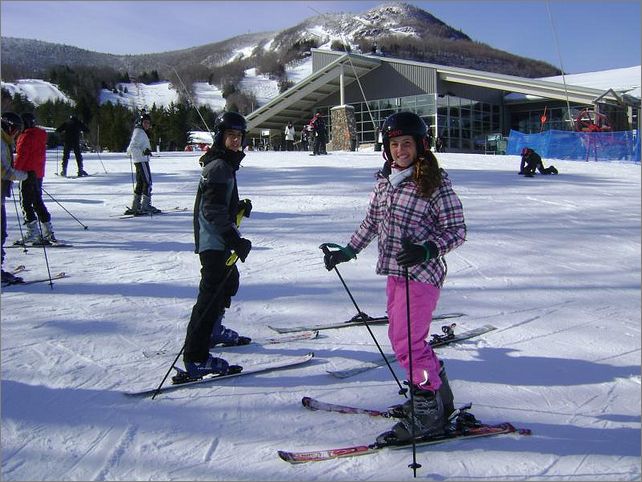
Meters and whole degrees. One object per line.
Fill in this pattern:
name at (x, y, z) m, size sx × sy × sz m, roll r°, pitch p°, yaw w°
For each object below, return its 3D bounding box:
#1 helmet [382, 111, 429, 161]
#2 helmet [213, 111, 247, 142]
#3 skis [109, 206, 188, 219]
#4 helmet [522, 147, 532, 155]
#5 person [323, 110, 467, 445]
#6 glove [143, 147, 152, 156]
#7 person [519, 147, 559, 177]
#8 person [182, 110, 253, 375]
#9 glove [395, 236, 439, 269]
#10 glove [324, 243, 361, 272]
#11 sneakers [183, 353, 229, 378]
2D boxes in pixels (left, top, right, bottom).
helmet at (0.524, -0.656, 3.602) m, size 0.304 × 0.313 × 0.200 m, roll 0°, pitch 8°, yaw 6°
helmet at (-0.673, -0.847, 4.311) m, size 0.247 × 0.188 × 0.245 m, roll 8°, pitch 10°, yaw -14°
skis at (-3.009, -0.497, 10.173) m, size 1.511 × 0.171 × 0.145 m, roll -5°, pitch -15°, yaw -21°
helmet at (5.107, -2.261, 14.478) m, size 0.157 × 0.221 × 0.533 m, roll 1°, pitch 7°, yaw 14°
person at (0.467, 0.208, 3.632) m, size 0.585 × 2.017 × 0.660 m, roll -8°, pitch 11°, yaw -38°
glove at (-2.854, -1.485, 9.612) m, size 0.149 × 0.100 × 0.120 m, roll 2°, pitch -15°, yaw -11°
person at (5.442, -2.021, 14.713) m, size 0.603 × 0.742 × 1.205 m, roll 4°, pitch 8°, yaw 32°
person at (-0.776, 0.017, 4.325) m, size 0.575 × 1.952 × 0.618 m, roll -1°, pitch 8°, yaw 3°
glove at (0.563, 0.062, 3.393) m, size 0.242 × 0.162 × 0.091 m, roll -4°, pitch 9°, yaw -28°
glove at (0.091, 0.129, 3.902) m, size 0.267 × 0.084 × 0.200 m, roll 14°, pitch 46°, yaw -3°
sneakers at (-0.828, 0.924, 4.307) m, size 0.338 × 0.110 × 0.145 m, roll -4°, pitch 5°, yaw -19°
